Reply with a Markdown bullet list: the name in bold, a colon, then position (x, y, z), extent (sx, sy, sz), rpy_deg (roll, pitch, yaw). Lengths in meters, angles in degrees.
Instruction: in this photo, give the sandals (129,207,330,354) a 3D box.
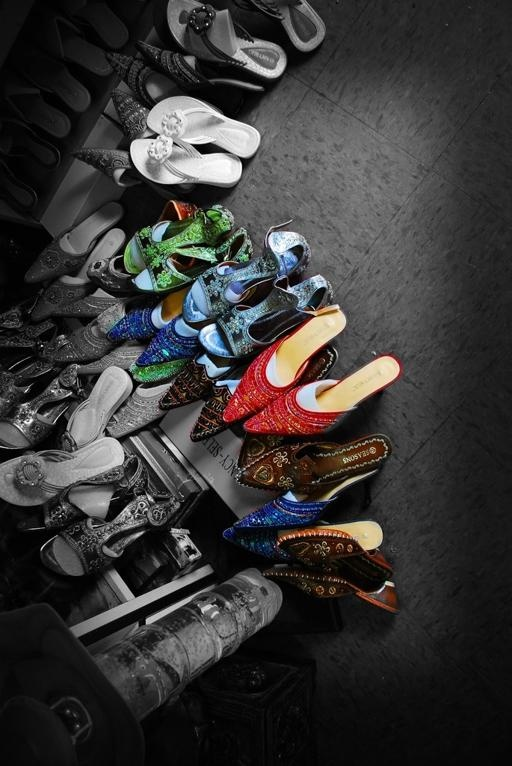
- **sandals**: position (-0.065, -0.246, 1.561), extent (0.508, 0.129, 0.219), rpy_deg (-36, 86, 24)
